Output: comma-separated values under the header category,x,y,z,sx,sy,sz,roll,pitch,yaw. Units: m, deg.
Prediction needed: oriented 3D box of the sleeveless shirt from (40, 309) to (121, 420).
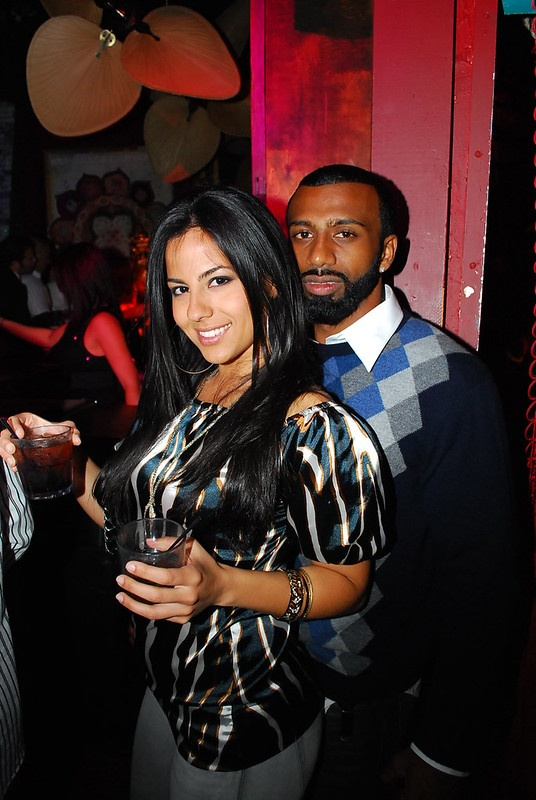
category,x,y,z,sx,sy,sz,roll,pitch,yaw
sleeveless shirt,-1.228,-0.234,4.195,0.472,0.638,0.413,5,6,40

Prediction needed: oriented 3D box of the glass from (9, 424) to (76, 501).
category,x,y,z,sx,sy,sz,roll,pitch,yaw
glass,-0.533,0.150,1.524,0.145,0.157,0.145,5,13,31

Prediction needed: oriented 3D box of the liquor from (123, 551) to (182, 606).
category,x,y,z,sx,sy,sz,roll,pitch,yaw
liquor,-0.197,0.300,1.101,0.100,0.080,0.088,5,-3,4

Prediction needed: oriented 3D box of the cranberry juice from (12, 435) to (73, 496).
category,x,y,z,sx,sy,sz,roll,pitch,yaw
cranberry juice,-0.528,0.152,1.520,0.135,0.146,0.138,-2,8,19

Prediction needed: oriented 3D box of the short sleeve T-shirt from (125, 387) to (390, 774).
category,x,y,z,sx,sy,sz,roll,pitch,yaw
short sleeve T-shirt,-0.069,0.336,1.333,0.554,0.684,0.361,10,12,42

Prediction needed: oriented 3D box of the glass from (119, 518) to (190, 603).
category,x,y,z,sx,sy,sz,roll,pitch,yaw
glass,-0.201,0.273,1.085,0.096,0.088,0.105,1,6,-6
